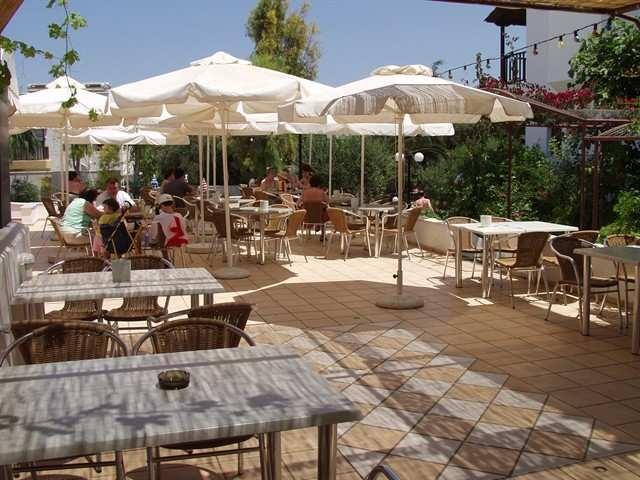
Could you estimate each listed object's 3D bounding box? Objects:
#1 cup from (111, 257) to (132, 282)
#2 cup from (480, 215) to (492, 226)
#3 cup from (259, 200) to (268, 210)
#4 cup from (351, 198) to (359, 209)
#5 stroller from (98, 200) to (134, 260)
[{"bbox_3d":[-1.658,0.252,4.314,0.194,0.199,0.178,-3,2,0],"label":"cup"},{"bbox_3d":[2.531,-0.295,7.682,0.168,0.142,0.170,0,-3,0],"label":"cup"},{"bbox_3d":[-1.035,-0.655,9.423,0.176,0.179,0.220,1,-3,2],"label":"cup"},{"bbox_3d":[0.746,-0.772,10.731,0.212,0.220,0.203,1,-4,0],"label":"cup"},{"bbox_3d":[-2.810,-0.151,6.890,0.444,0.786,0.367,10,9,38],"label":"stroller"}]
